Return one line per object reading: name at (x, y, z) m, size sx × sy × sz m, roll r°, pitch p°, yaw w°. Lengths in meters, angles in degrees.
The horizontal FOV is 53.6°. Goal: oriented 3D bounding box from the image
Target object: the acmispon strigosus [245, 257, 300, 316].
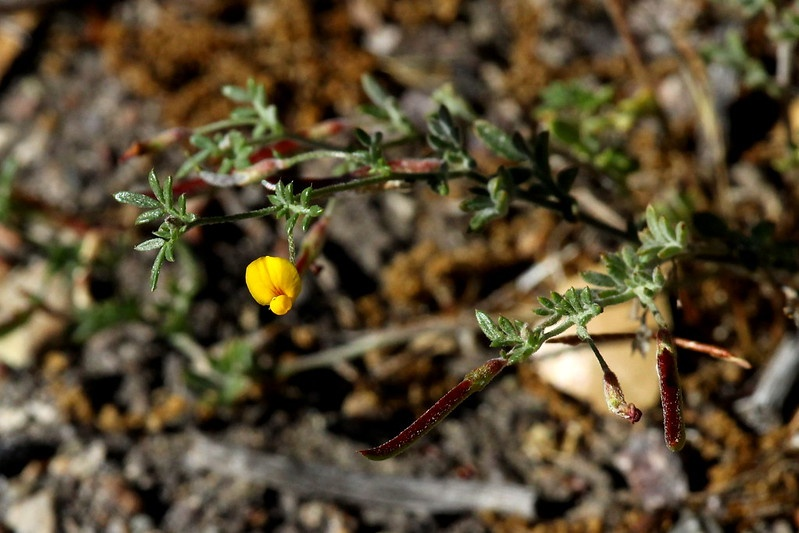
acmispon strigosus at (-0.462, 0.041, 2.767) m, size 0.172 × 0.071 × 0.199 m, roll -8°, pitch 40°, yaw -11°
